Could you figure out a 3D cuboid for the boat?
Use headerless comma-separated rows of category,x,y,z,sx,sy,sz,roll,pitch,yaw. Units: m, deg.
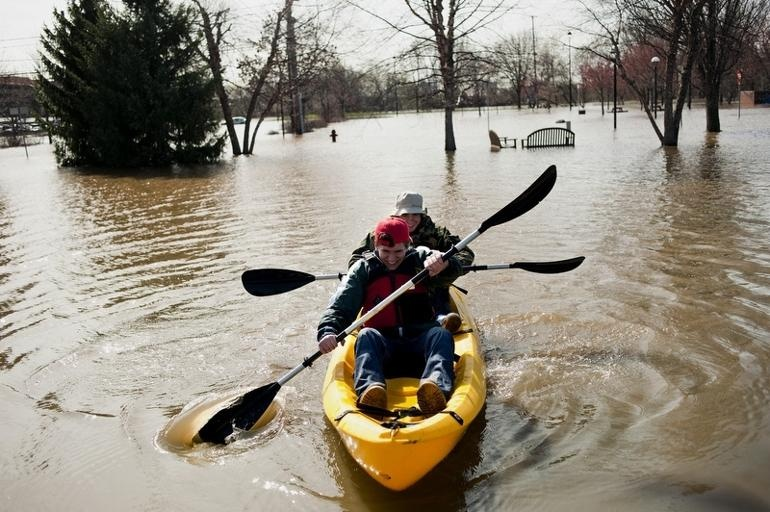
boat,0.256,1.638,7.890,1.844,1.173,1.636,-6,15,-1

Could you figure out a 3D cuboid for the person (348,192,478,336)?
person,0.620,-0.053,9.286,1.327,0.966,1.941,-2,12,0

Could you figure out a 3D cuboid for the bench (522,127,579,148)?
bench,6.199,-4.419,26.307,1.707,0.755,1.149,-3,15,13

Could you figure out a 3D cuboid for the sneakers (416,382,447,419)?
sneakers,0.491,1.515,7.482,0.216,0.410,0.180,-6,-6,4
